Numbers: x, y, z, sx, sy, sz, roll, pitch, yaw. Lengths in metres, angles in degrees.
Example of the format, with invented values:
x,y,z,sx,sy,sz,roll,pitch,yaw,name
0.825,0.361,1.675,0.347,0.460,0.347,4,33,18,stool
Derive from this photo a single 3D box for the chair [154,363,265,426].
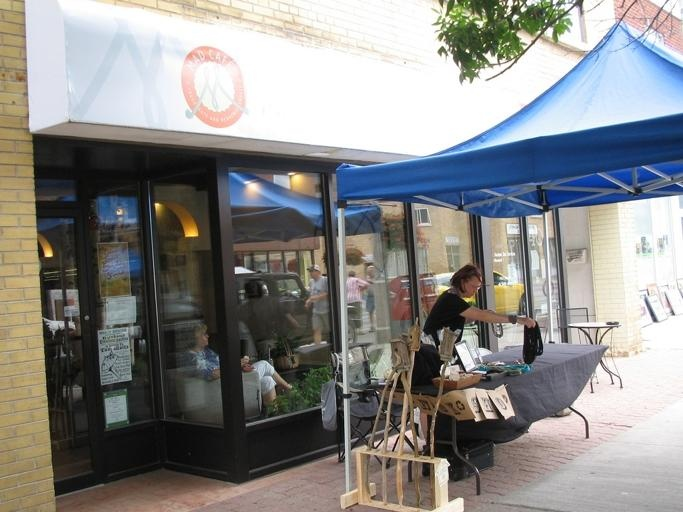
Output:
x,y,z,sx,sy,sz,roll,pitch,yaw,name
-1.579,1.555,6.144,0.764,0.481,0.740,-4,-4,37,chair

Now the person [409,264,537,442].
x,y,z,sx,sy,sz,roll,pitch,yaw,name
1.185,0.914,5.424,0.974,1.741,1.387,-5,-1,28,person

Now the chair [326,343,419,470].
x,y,z,sx,sy,sz,roll,pitch,yaw,name
0.339,1.591,6.012,0.898,1.039,0.787,0,3,27,chair

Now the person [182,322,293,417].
x,y,z,sx,sy,sz,roll,pitch,yaw,name
-1.092,1.211,6.101,1.088,0.935,0.514,-4,-1,-17,person
